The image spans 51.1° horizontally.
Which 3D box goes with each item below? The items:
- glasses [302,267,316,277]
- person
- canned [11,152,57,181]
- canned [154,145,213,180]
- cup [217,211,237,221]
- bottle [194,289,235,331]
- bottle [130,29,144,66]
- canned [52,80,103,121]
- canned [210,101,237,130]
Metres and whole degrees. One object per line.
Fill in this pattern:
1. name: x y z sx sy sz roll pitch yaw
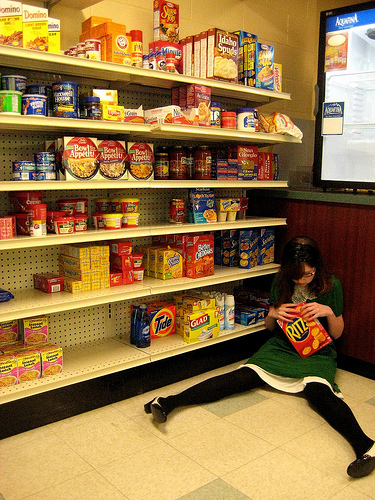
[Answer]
1. glasses: 0.697 0.124 2.257 0.067 0.020 0.066 -6 14 -39
2. person: 0.532 0.345 2.061 1.067 0.764 1.027 7 8 31
3. canned: -0.681 -0.371 1.777 0.209 0.129 0.116 -3 7 -31
4. canned: -0.032 -0.540 2.442 0.276 0.134 0.090 -8 15 -41
5. cup: 0.272 -0.242 2.720 0.113 0.050 0.070 -9 13 -39
6. bottle: 0.175 0.412 2.639 0.187 0.323 0.190 -2 13 0
7. bottle: -0.260 -1.032 2.022 0.044 0.185 0.091 0 0 39
8. canned: -0.528 -0.684 1.816 0.255 0.154 0.142 -2 8 -34
9. canned: 0.213 -0.873 2.562 0.218 0.193 0.130 -4 11 -25
